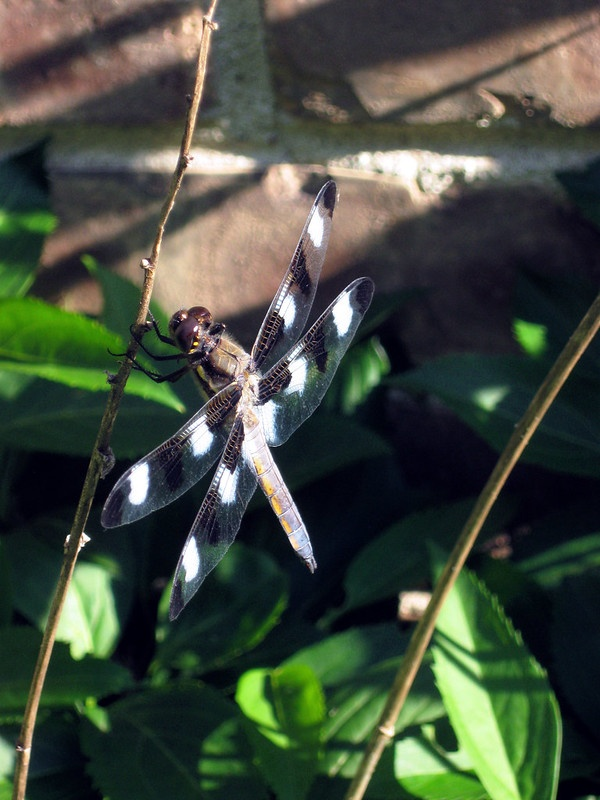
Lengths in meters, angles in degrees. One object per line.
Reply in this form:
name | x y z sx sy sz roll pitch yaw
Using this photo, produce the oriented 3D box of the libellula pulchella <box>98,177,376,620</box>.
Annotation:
libellula pulchella | -0.066 -0.003 0.815 0.290 0.409 0.135 6 -3 -32
